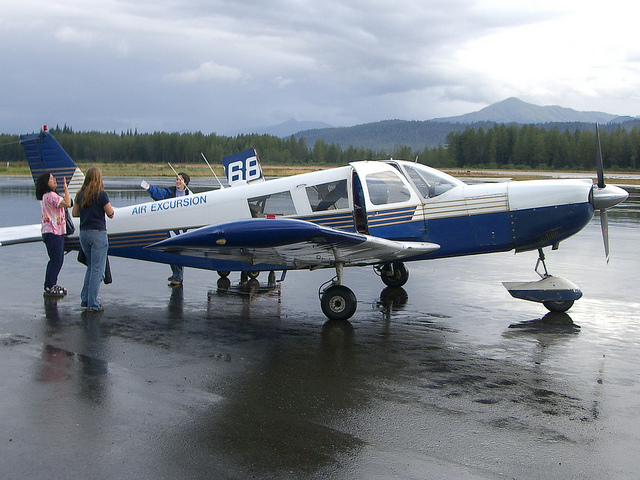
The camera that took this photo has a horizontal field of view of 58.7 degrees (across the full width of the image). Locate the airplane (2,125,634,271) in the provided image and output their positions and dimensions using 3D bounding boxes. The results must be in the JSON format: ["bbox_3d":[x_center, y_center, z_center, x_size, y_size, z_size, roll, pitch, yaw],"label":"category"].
[{"bbox_3d":[0.464,-0.267,7.873,7.465,1.732,2.768,0,11,-4],"label":"airplane"}]

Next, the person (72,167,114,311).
[{"bbox_3d":[-3.067,0.024,7.819,0.633,1.994,0.333,1,12,3],"label":"person"}]
